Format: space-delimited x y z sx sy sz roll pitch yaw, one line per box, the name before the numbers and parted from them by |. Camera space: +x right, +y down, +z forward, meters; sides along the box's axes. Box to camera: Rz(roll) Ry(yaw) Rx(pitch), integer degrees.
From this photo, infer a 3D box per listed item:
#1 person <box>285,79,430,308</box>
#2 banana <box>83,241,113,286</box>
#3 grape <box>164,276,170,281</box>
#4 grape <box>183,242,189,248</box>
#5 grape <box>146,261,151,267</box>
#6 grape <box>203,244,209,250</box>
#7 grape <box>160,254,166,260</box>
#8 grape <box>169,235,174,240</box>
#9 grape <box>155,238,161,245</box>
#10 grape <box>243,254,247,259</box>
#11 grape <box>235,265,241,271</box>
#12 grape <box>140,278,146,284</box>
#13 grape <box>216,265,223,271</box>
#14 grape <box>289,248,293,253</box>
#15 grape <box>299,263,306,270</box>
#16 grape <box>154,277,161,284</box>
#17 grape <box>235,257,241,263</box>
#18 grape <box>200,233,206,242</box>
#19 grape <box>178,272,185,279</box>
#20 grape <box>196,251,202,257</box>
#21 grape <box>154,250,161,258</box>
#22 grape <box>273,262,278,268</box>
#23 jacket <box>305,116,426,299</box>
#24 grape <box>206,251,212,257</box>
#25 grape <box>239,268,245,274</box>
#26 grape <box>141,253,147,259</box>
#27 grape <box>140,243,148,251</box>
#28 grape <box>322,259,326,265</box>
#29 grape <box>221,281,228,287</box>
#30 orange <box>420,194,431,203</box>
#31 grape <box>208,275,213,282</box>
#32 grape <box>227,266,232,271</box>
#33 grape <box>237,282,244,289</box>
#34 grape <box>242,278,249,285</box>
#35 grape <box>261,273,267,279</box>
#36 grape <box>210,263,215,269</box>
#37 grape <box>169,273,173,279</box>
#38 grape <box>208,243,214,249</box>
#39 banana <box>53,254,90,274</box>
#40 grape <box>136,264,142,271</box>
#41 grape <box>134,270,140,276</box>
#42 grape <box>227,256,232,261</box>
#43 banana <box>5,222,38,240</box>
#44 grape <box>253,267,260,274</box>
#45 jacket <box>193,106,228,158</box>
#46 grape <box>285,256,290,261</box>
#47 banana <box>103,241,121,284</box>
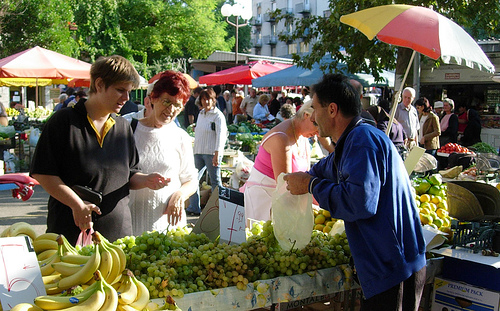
person | 0.903 0.310 3.718 0.987 1.836 0.549 5 8 29
banana | -1.097 0.779 3.317 0.147 0.418 0.097 3 -10 37
grape | -0.643 0.947 3.538 0.050 0.039 0.028 -3 8 -24
grape | -0.531 0.734 3.767 0.033 0.041 0.033 -4 8 -32
grape | -0.797 0.852 3.605 0.027 0.029 0.040 -1 8 -11
grape | -0.364 0.752 3.770 0.034 0.043 0.034 22 -29 -19
grape | -0.701 0.804 3.647 0.037 0.023 0.033 -2 8 -20
grape | -0.651 0.676 3.788 0.036 0.025 0.067 0 8 -4
grape | -0.750 0.691 3.700 0.034 0.044 0.035 -7 -9 -14
grape | -0.044 0.816 3.713 0.035 0.033 0.020 -2 8 -23
grape | -0.098 0.909 3.694 0.033 0.035 0.033 5 -3 -21
grape | -0.837 0.967 3.527 0.027 0.018 0.028 3 13 17
grape | -0.247 0.904 3.699 0.052 0.030 0.036 4 8 21
grape | 0.344 0.797 3.848 0.045 0.027 0.030 4 8 22
grape | 0.443 0.928 3.845 0.065 0.056 0.026 -2 8 -23
grape | -0.709 0.960 3.518 0.039 0.043 0.047 -1 -28 2
grape | -0.101 0.840 3.699 0.034 0.035 0.041 -16 -29 -42
grape | -0.399 0.695 3.902 0.042 0.056 0.043 -1 8 7
grape | -0.548 0.951 3.636 0.048 0.044 0.042 13 22 3
grape | -0.413 0.795 3.703 0.033 0.034 0.040 -39 20 13
grape | -0.745 0.787 3.669 0.042 0.045 0.050 -4 3 -29
grape | 0.210 0.909 3.804 0.037 0.052 0.013 1 7 5
jacket | 0.994 0.468 4.016 0.910 1.442 1.199 -7 -3 -1
grape | -0.334 0.793 3.717 0.027 0.029 0.029 5 -26 14
grape | -0.069 0.936 3.713 0.043 0.045 0.012 -2 8 -24
grape | -0.847 0.794 3.646 0.048 0.036 0.031 -2 8 -20
grape | -0.856 0.734 3.679 0.044 0.058 0.047 -3 0 4
grape | 0.631 0.914 3.921 0.029 0.030 0.030 0 -1 13
grape | -0.209 1.027 3.677 0.051 0.046 0.016 0 7 -5
orange | 1.927 0.470 5.046 0.079 0.085 0.096 13 -30 -29
grape | -0.318 0.984 3.666 0.035 0.052 0.037 0 19 -8
grape | -0.171 0.911 3.707 0.036 0.040 0.015 1 7 0
grape | -0.080 1.045 3.690 0.051 0.054 0.020 0 7 -3
grape | -0.039 1.011 3.681 0.033 0.036 0.022 -19 7 24
grape | 0.117 0.991 3.759 0.032 0.042 0.034 -1 18 -5
grape | -0.305 0.879 3.665 0.027 0.036 0.029 -2 9 5
grape | -0.618 0.932 3.565 0.022 0.041 0.028 12 -14 -31
grape | -0.328 0.749 3.801 0.040 0.035 0.035 34 -5 37
banana | -1.345 0.824 3.410 0.362 0.104 0.127 -8 31 32
grape | -0.874 0.882 3.601 0.033 0.044 0.035 -3 -3 26
grape | -0.887 0.921 3.600 0.036 0.032 0.032 26 -6 25
grape | -0.169 0.828 3.695 0.051 0.040 0.019 5 9 29
banana | -1.851 0.605 3.689 0.222 0.121 0.213 -4 9 -30
grape | 0.058 0.945 3.783 0.032 0.059 0.071 7 10 41
jacket | -0.845 -0.426 8.715 0.758 1.008 0.382 2 -8 31
grape | 0.307 0.852 3.798 0.039 0.035 0.019 0 7 -8
banana | -0.999 0.814 3.336 0.076 0.342 0.182 -9 13 -38
